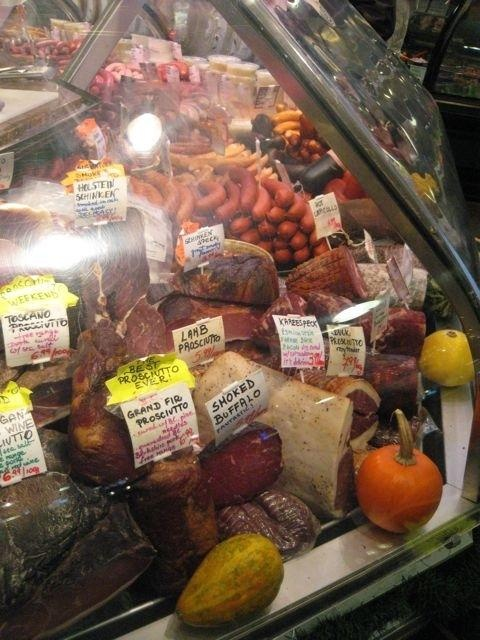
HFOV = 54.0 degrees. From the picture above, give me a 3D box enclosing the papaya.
[{"bbox_3d":[-0.013,0.476,0.921,0.215,0.130,0.128,-21,0,-23],"label":"papaya"}]
